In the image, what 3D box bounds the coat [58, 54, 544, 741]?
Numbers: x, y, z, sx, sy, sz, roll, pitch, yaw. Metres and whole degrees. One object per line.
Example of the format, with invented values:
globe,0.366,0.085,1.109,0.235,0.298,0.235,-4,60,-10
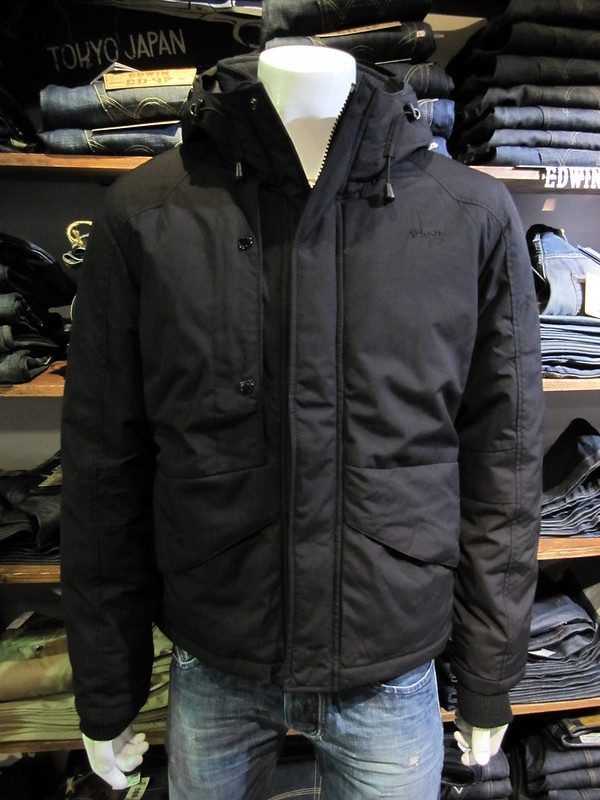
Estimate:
coat,-0.013,0.038,1.162,0.801,1.031,0.239,-10,11,-10
